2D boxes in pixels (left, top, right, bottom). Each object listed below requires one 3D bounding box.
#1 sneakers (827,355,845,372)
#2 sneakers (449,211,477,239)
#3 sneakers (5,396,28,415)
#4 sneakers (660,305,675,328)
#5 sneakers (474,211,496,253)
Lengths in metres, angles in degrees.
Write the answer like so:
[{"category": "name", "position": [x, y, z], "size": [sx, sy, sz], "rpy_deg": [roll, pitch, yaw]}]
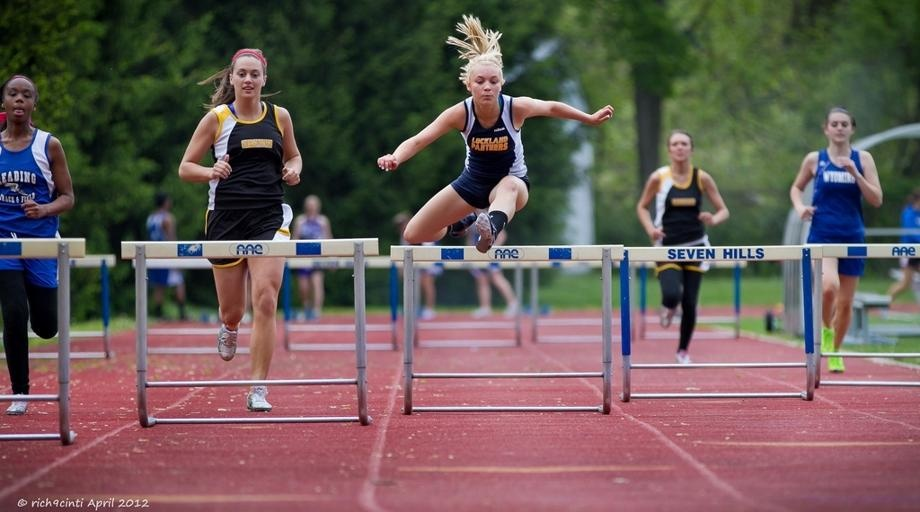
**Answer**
[{"category": "sneakers", "position": [5.476, 1.609, 15.944], "size": [0.240, 0.139, 0.386], "rpy_deg": [8, -30, 4]}, {"category": "sneakers", "position": [0.036, -0.420, 15.002], "size": [0.520, 0.183, 0.180], "rpy_deg": [-34, 21, 1]}, {"category": "sneakers", "position": [-5.863, 2.031, 14.497], "size": [0.274, 0.235, 0.542], "rpy_deg": [5, -5, -18]}, {"category": "sneakers", "position": [3.052, 0.904, 16.142], "size": [0.181, 0.490, 0.197], "rpy_deg": [5, 48, 13]}, {"category": "sneakers", "position": [0.310, -0.314, 14.261], "size": [0.236, 0.538, 0.289], "rpy_deg": [5, 3, 37]}]
